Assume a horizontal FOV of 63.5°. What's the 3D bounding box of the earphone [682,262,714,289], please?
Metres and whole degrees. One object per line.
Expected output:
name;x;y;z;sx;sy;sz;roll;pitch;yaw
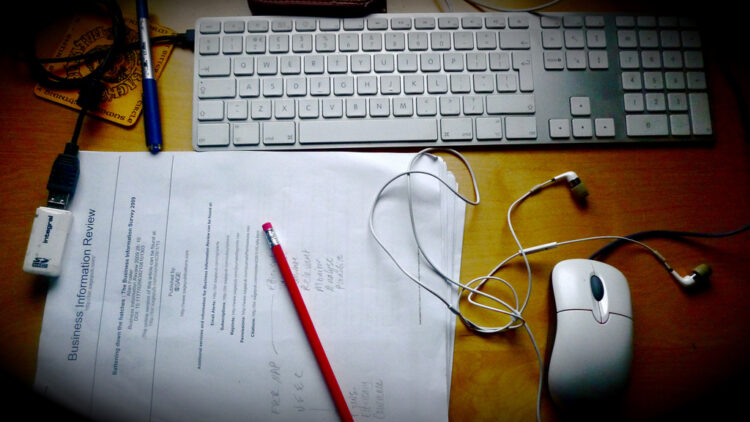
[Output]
earphone;0.659;0.132;1.232;0.039;0.023;0.040;15;-80;-32
